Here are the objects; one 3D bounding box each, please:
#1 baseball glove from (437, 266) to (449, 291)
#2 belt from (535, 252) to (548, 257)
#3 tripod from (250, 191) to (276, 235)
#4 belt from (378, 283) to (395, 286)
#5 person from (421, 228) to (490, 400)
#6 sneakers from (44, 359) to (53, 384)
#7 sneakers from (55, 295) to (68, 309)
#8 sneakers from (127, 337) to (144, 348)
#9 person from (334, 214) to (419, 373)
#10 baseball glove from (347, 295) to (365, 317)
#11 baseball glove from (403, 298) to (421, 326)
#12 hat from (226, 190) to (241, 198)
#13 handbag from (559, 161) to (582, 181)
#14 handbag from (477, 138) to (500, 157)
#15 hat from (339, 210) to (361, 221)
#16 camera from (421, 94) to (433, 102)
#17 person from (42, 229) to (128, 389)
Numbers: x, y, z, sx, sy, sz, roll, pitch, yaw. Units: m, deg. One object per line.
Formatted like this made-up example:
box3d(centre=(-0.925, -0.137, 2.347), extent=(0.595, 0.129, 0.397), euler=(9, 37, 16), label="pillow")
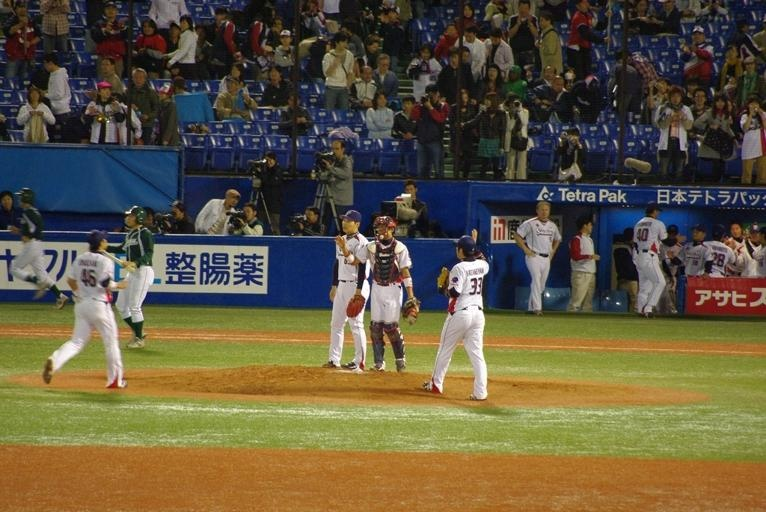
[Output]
box3d(centre=(1.234, 0.471, 27.383), extent=(0.103, 0.379, 0.376), euler=(11, -4, 0), label="baseball glove")
box3d(centre=(4.211, -0.011, 35.912), extent=(0.289, 0.110, 0.051), euler=(-4, 14, -19), label="belt")
box3d(centre=(-3.189, -1.183, 37.176), extent=(0.708, 1.219, 0.452), euler=(0, 14, -3), label="tripod")
box3d(centre=(0.102, 0.628, 28.890), extent=(0.282, 0.067, 0.058), euler=(0, 14, -4), label="belt")
box3d(centre=(1.579, 1.279, 27.332), extent=(1.220, 3.254, 1.050), euler=(-2, 14, -11), label="person")
box3d(centre=(-6.530, 2.289, 26.804), extent=(0.170, 0.515, 0.232), euler=(2, -2, -3), label="sneakers")
box3d(centre=(-8.151, 1.207, 34.768), extent=(0.255, 0.205, 0.554), euler=(12, -20, -8), label="sneakers")
box3d(centre=(-5.508, 1.984, 30.696), extent=(0.389, 0.214, 0.181), euler=(0, 7, 2), label="sneakers")
box3d(centre=(-0.022, 0.905, 29.033), extent=(1.529, 3.352, 1.023), euler=(4, 14, 13), label="person")
box3d(centre=(-0.559, 1.081, 28.791), extent=(0.377, 0.476, 0.260), euler=(1, 14, -2), label="baseball glove")
box3d(centre=(0.606, 1.188, 28.330), extent=(0.371, 0.499, 0.255), euler=(24, -30, -37), label="baseball glove")
box3d(centre=(-3.884, -1.609, 35.620), extent=(0.237, 0.179, 0.321), euler=(0, -4, -9), label="hat")
box3d(centre=(5.211, -2.263, 37.605), extent=(0.410, 0.487, 0.598), euler=(-4, 7, -42), label="handbag")
box3d(centre=(2.909, -2.900, 37.778), extent=(0.749, 0.656, 0.435), euler=(0, 2, -2), label="handbag")
box3d(centre=(-0.631, -0.833, 29.175), extent=(0.372, 0.193, 0.263), euler=(9, -2, -14), label="hat")
box3d(centre=(1.228, -4.264, 37.447), extent=(0.250, 0.250, 0.261), euler=(0, 0, 0), label="camera")
box3d(centre=(-5.875, 1.154, 27.307), extent=(1.577, 3.167, 1.030), euler=(-3, 14, -17), label="person")
